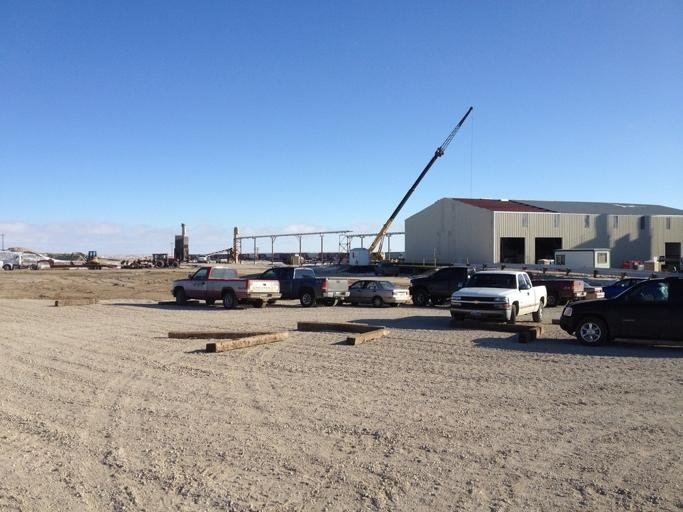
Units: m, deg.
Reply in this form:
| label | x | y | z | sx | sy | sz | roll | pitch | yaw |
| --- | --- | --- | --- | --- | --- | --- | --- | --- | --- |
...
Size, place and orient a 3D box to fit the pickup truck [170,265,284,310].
| label | x | y | z | sx | sy | sz | roll | pitch | yaw |
| --- | --- | --- | --- | --- | --- | --- | --- | --- | --- |
| pickup truck | -5.372 | 1.435 | 23.530 | 4.551 | 1.596 | 2.140 | 3 | 0 | 33 |

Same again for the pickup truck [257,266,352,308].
| label | x | y | z | sx | sy | sz | roll | pitch | yaw |
| --- | --- | --- | --- | --- | --- | --- | --- | --- | --- |
| pickup truck | -2.027 | 1.475 | 24.061 | 3.827 | 1.308 | 1.885 | 3 | 0 | 34 |

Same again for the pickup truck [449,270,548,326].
| label | x | y | z | sx | sy | sz | roll | pitch | yaw |
| --- | --- | --- | --- | --- | --- | --- | --- | --- | --- |
| pickup truck | 5.191 | 1.395 | 16.871 | 1.749 | 1.764 | 3.370 | 2 | 4 | 43 |

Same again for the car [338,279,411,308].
| label | x | y | z | sx | sy | sz | roll | pitch | yaw |
| --- | --- | --- | --- | --- | --- | --- | --- | --- | --- |
| car | 1.477 | 1.756 | 24.172 | 1.338 | 0.918 | 2.857 | 2 | 0 | -43 |

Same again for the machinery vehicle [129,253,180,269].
| label | x | y | z | sx | sy | sz | roll | pitch | yaw |
| --- | --- | --- | --- | --- | --- | --- | --- | --- | --- |
| machinery vehicle | -30.859 | 0.781 | 84.269 | 7.137 | 2.075 | 10.167 | -1 | 2 | -16 |

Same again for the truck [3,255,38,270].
| label | x | y | z | sx | sy | sz | roll | pitch | yaw |
| --- | --- | --- | --- | --- | --- | --- | --- | --- | --- |
| truck | -43.394 | 0.684 | 68.799 | 4.147 | 2.010 | 1.702 | -1 | 3 | -18 |

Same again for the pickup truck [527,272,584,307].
| label | x | y | z | sx | sy | sz | roll | pitch | yaw |
| --- | --- | --- | --- | --- | --- | --- | --- | --- | --- |
| pickup truck | 10.336 | 1.583 | 24.476 | 2.426 | 0.874 | 1.512 | 2 | -1 | 21 |

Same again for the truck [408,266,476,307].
| label | x | y | z | sx | sy | sz | roll | pitch | yaw |
| --- | --- | --- | --- | --- | --- | --- | --- | --- | --- |
| truck | 4.714 | 1.408 | 24.428 | 3.005 | 1.456 | 1.613 | 0 | 0 | 39 |

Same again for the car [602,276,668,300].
| label | x | y | z | sx | sy | sz | roll | pitch | yaw |
| --- | --- | --- | --- | --- | --- | --- | --- | --- | --- |
| car | 10.328 | 1.110 | 18.134 | 2.544 | 0.920 | 1.163 | -1 | -4 | 11 |
